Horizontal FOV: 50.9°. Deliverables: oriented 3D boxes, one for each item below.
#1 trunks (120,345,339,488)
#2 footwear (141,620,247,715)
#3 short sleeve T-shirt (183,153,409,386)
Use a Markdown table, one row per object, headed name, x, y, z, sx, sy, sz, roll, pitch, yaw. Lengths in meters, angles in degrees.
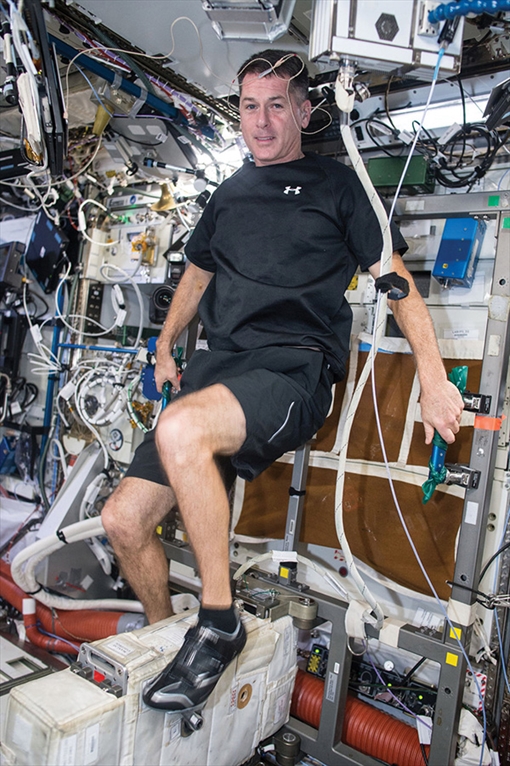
| name | x | y | z | sx | sy | sz | roll | pitch | yaw |
| --- | --- | --- | --- | --- | --- | --- | --- | --- | --- |
| trunks | -0.029 | 0.081 | 1.706 | 0.544 | 0.412 | 0.564 | 5 | 4 | 9 |
| footwear | -0.134 | 0.655 | 1.345 | 0.132 | 0.128 | 0.303 | 15 | 37 | 33 |
| short sleeve T-shirt | 0.075 | -0.411 | 1.978 | 0.865 | 0.861 | 0.477 | 3 | -1 | 23 |
